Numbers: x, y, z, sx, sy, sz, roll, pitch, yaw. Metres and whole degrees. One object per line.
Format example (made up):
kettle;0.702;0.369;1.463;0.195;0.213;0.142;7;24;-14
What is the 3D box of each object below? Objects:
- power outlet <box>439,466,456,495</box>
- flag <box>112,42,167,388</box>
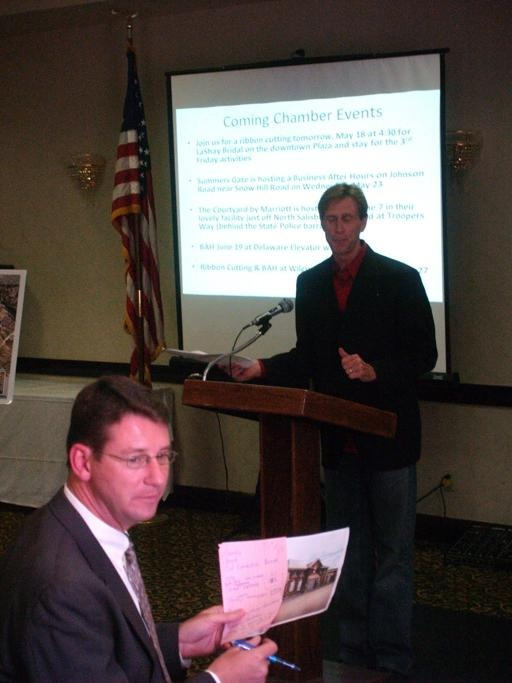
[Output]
power outlet;1.092;0.802;3.476;0.088;0.133;0.050;0;5;19
flag;-0.732;-0.732;3.728;0.288;1.990;0.217;-2;5;-12
